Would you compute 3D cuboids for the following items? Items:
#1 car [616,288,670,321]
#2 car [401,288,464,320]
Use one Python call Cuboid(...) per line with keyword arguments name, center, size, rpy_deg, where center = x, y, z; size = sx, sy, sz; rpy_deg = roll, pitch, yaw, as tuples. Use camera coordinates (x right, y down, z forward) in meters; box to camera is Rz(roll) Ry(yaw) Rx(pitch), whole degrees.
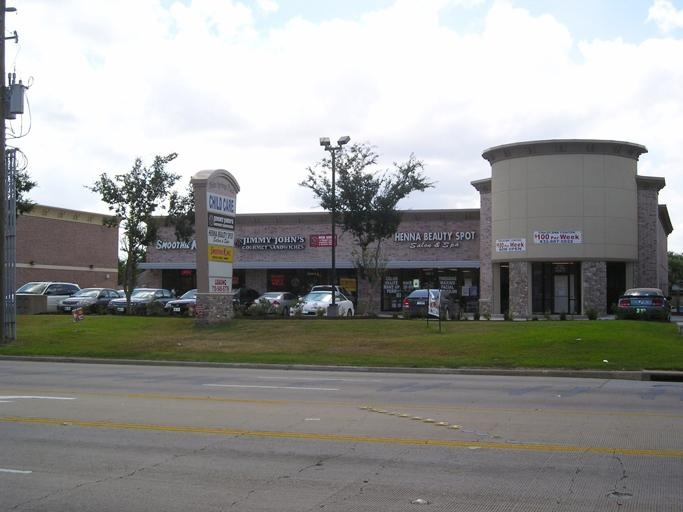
Cuboid(name="car", center=(13.062, 2.122, 33.736), size=(1.355, 0.919, 3.057), rpy_deg=(-1, 1, 18))
Cuboid(name="car", center=(4.239, 2.285, 36.699), size=(2.268, 1.426, 3.075), rpy_deg=(0, 0, 22))
